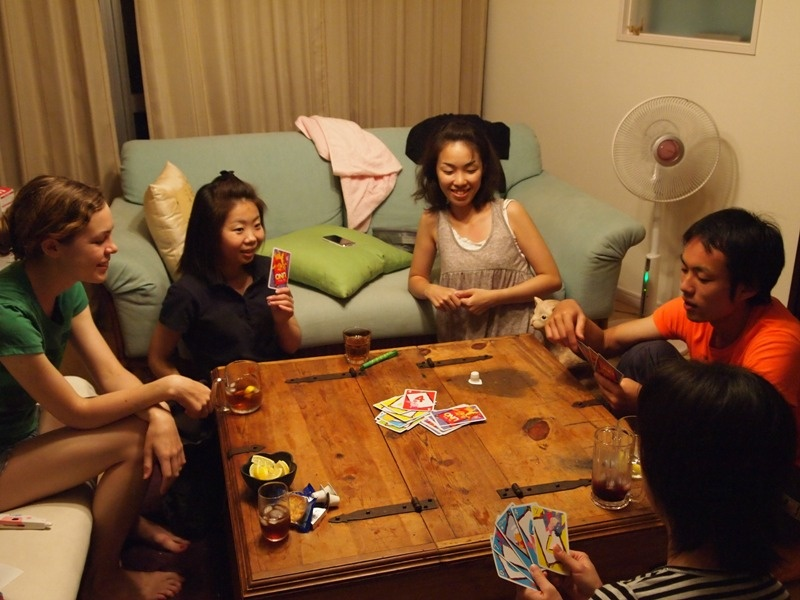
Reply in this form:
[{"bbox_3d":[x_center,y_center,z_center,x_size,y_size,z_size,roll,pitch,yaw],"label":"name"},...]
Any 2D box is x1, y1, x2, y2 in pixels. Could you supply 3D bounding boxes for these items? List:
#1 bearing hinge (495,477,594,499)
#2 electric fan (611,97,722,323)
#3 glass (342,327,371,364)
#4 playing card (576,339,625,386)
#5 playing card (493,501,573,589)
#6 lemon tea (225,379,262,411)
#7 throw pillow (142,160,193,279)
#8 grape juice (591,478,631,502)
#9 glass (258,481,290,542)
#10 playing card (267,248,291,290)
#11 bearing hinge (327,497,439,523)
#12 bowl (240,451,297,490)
[{"bbox_3d":[0.407,0.539,1.695,0.203,0.019,0.045,-3,26,-10],"label":"bearing hinge"},{"bbox_3d":[1.422,-0.446,3.314,0.514,1.325,0.420,6,16,18],"label":"electric fan"},{"bbox_3d":[-0.162,0.181,2.333,0.114,0.139,0.120,0,18,0],"label":"glass"},{"bbox_3d":[0.750,0.231,2.235,0.018,0.168,0.221,-38,60,0],"label":"playing card"},{"bbox_3d":[0.307,0.585,1.440,0.183,0.013,0.194,15,51,16],"label":"playing card"},{"bbox_3d":[-0.529,0.329,2.031,0.116,0.092,0.092,-10,50,-16],"label":"lemon tea"},{"bbox_3d":[-1.194,-0.436,3.073,0.197,0.431,0.564,-3,13,-13],"label":"throw pillow"},{"bbox_3d":[0.578,0.526,1.636,0.087,0.059,0.062,1,-16,14],"label":"grape juice"},{"bbox_3d":[-0.324,0.550,1.528,0.071,0.114,0.073,-14,31,-19],"label":"glass"},{"bbox_3d":[-0.516,-0.134,2.518,0.094,0.173,0.135,-6,20,-10],"label":"playing card"},{"bbox_3d":[-0.045,0.575,1.620,0.297,0.021,0.042,-7,21,-9],"label":"bearing hinge"},{"bbox_3d":[-0.364,0.490,1.726,0.137,0.080,0.151,-12,62,23],"label":"bowl"}]
